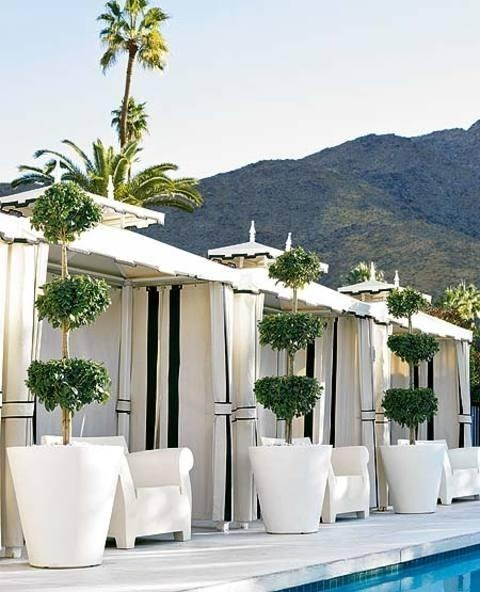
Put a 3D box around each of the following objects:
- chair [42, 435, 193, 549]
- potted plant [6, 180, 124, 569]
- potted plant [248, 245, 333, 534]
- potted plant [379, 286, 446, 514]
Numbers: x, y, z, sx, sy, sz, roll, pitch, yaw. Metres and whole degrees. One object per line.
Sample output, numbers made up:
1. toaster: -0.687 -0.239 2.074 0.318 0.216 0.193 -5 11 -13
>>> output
1. chair: -0.897 1.624 8.653 0.985 0.975 0.792 7 -19 -41
2. potted plant: -1.226 0.521 7.380 0.747 2.706 0.435 -1 -2 -9
3. potted plant: 0.438 0.834 9.606 0.711 2.604 1.047 -1 -2 4
4. potted plant: 1.933 1.134 11.871 0.587 2.411 0.633 -1 -3 -3
